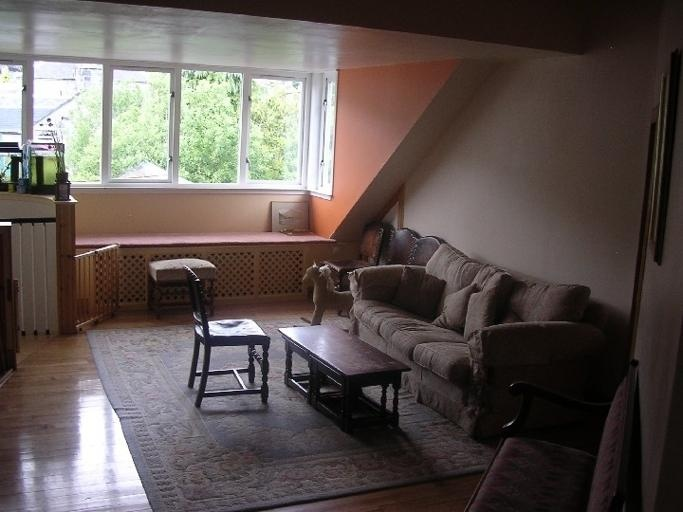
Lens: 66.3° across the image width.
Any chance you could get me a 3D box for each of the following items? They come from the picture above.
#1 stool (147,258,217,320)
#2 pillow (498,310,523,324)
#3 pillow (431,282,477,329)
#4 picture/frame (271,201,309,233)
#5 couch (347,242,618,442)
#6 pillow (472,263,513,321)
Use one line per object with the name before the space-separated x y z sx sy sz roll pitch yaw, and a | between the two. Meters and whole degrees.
stool | -1.871 0.278 6.068 0.787 0.682 0.778 -1 2 -23
pillow | 1.357 0.495 4.203 0.096 0.063 0.131 -2 6 -8
pillow | 1.008 0.442 4.596 0.117 0.361 0.384 23 -11 -11
picture/frame | -0.785 -0.566 7.581 0.452 0.375 0.033 -3 4 -15
couch | 1.133 0.052 4.106 1.209 1.215 2.422 -2 15 -23
pillow | 1.198 0.293 4.225 0.135 0.358 0.356 20 9 -8
